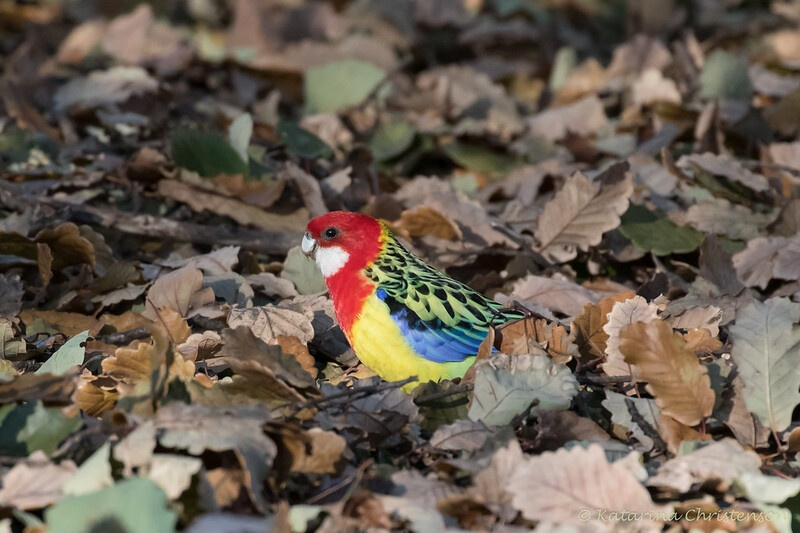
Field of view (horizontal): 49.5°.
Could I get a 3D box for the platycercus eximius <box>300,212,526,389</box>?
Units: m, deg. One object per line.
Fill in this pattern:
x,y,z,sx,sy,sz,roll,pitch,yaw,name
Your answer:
-0.061,0.139,3.543,0.915,0.416,0.531,36,83,3,platycercus eximius
